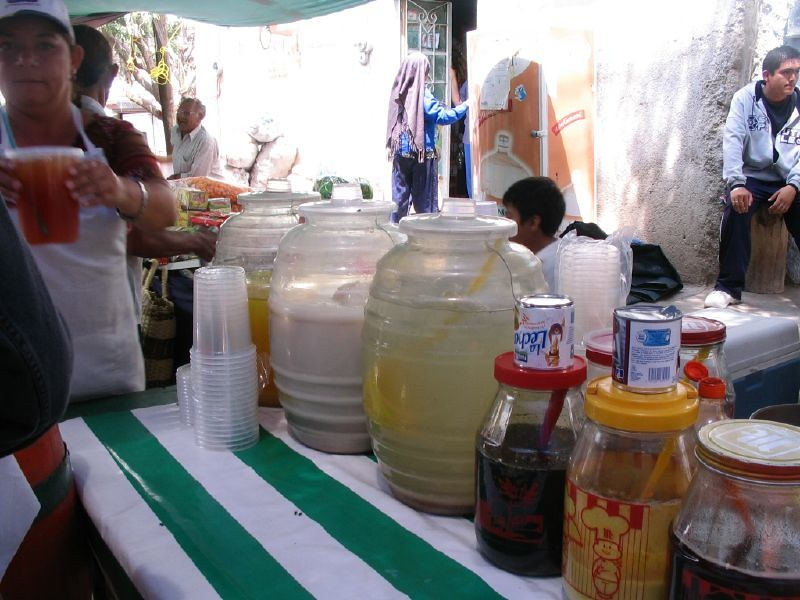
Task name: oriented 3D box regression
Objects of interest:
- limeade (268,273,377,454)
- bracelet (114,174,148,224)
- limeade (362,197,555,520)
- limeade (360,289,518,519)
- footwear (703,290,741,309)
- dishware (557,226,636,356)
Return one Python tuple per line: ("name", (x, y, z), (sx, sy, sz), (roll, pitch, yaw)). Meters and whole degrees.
("limeade", (-0.249, 0.166, 1.478), (0.311, 0.450, 0.330), (-12, -17, 35))
("bracelet", (-0.934, -0.347, 1.903), (0.128, 0.161, 0.162), (2, 3, -1))
("limeade", (0.150, 0.153, 1.265), (0.417, 0.590, 0.411), (-1, 4, -25))
("limeade", (0.100, 0.168, 1.238), (0.356, 0.509, 0.348), (-1, 9, -26))
("footwear", (2.949, 0.006, 5.175), (0.466, 0.185, 0.163), (4, 3, -33))
("dishware", (0.475, -0.033, 1.368), (0.176, 0.291, 0.163), (3, 14, 20))
